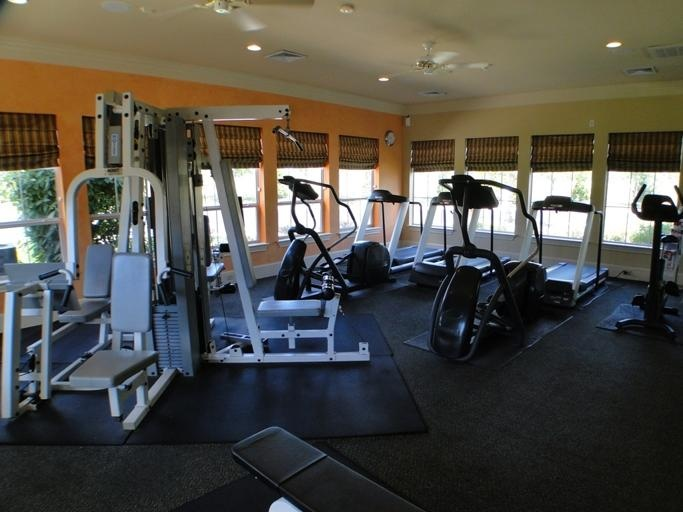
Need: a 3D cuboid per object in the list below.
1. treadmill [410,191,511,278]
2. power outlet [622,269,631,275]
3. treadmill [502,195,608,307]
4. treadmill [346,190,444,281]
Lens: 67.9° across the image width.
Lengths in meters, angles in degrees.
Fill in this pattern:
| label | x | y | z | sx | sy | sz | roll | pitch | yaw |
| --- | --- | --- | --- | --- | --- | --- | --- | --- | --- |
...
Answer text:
| label | x | y | z | sx | sy | sz | roll | pitch | yaw |
| --- | --- | --- | --- | --- | --- | --- | --- | --- | --- |
| treadmill | 1.678 | -0.154 | 8.301 | 1.304 | 1.697 | 1.114 | -2 | 10 | -23 |
| power outlet | 4.674 | 0.270 | 8.305 | 0.142 | 0.050 | 0.086 | 4 | -1 | -39 |
| treadmill | 3.452 | -0.194 | 7.847 | 1.251 | 1.471 | 2.857 | 4 | 10 | 28 |
| treadmill | 0.904 | -0.357 | 8.750 | 1.485 | 1.695 | 1.076 | 9 | 11 | 23 |
